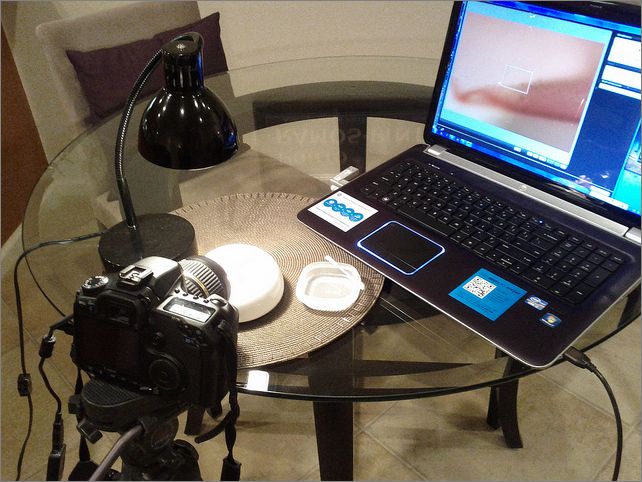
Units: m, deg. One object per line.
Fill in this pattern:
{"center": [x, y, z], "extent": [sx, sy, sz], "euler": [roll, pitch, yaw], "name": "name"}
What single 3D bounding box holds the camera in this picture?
{"center": [-0.230, 0.115, 0.865], "extent": [0.266, 0.158, 0.249], "euler": [13, 20, 19], "name": "camera"}
